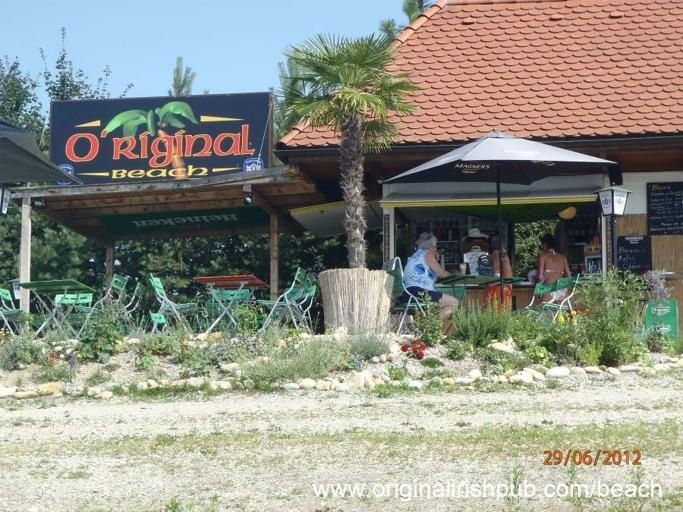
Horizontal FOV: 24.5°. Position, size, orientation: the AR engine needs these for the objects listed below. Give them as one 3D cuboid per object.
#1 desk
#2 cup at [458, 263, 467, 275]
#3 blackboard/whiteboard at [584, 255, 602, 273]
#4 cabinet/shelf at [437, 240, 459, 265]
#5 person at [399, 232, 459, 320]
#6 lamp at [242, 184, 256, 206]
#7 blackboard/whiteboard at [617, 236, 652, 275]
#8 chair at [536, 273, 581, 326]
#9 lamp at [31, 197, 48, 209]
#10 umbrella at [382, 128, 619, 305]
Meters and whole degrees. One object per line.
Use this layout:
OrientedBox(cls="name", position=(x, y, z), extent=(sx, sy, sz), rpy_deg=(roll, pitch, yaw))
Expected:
OrientedBox(cls="desk", position=(2.930, 0.880, 33.289), extent=(1.488, 1.148, 1.338), rpy_deg=(1, -1, -13))
OrientedBox(cls="cup", position=(2.692, 0.277, 35.029), extent=(0.209, 0.355, 0.200), rpy_deg=(0, -1, 0))
OrientedBox(cls="blackboard/whiteboard", position=(5.657, 0.200, 35.381), extent=(0.324, 0.591, 0.622), rpy_deg=(-1, 5, -3))
OrientedBox(cls="cabinet/shelf", position=(2.489, -0.065, 36.713), extent=(0.511, 0.509, 0.275), rpy_deg=(1, -12, -1))
OrientedBox(cls="person", position=(1.839, 0.420, 33.159), extent=(1.119, 1.886, 0.896), rpy_deg=(-1, -5, -2))
OrientedBox(cls="lamp", position=(-2.111, -1.392, 35.837), extent=(0.258, 0.441, 0.557), rpy_deg=(-1, -5, 0))
OrientedBox(cls="blackboard/whiteboard", position=(6.481, 0.012, 34.857), extent=(0.805, 0.951, 0.108), rpy_deg=(0, -6, 6))
OrientedBox(cls="chair", position=(4.406, 0.988, 33.114), extent=(0.779, 1.298, 0.949), rpy_deg=(-9, -23, 31))
OrientedBox(cls="lamp", position=(-7.099, -1.232, 37.048), extent=(0.286, 0.201, 0.211), rpy_deg=(0, 0, -15))
OrientedBox(cls="umbrella", position=(3.383, -0.925, 34.450), extent=(3.580, 2.419, 3.556), rpy_deg=(1, 4, 40))
